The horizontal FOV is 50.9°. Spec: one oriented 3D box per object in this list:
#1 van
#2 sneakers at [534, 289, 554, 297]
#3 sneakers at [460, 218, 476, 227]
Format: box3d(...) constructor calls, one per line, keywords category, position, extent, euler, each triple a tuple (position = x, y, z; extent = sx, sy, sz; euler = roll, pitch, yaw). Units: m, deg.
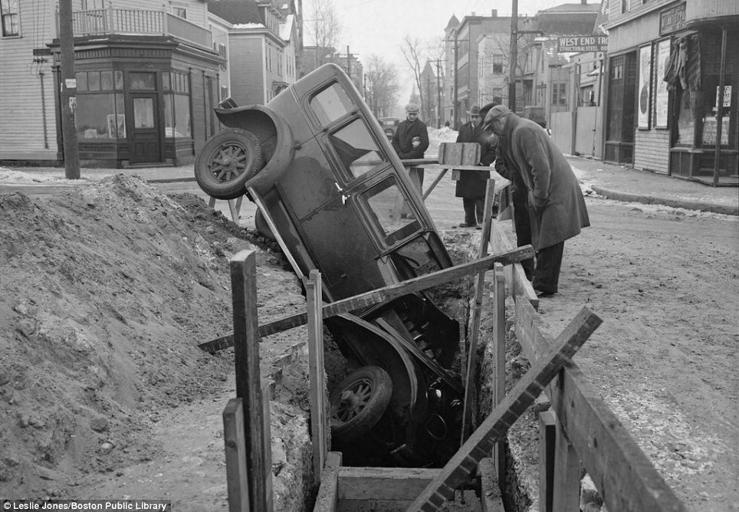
box3d(category="van", position=(-0.256, -0.087, 11.203), extent=(2.437, 5.147, 3.798), euler=(-13, 18, -36))
box3d(category="sneakers", position=(2.141, 0.463, 9.544), extent=(0.149, 0.068, 0.133), euler=(-2, 44, -3))
box3d(category="sneakers", position=(1.858, -0.635, 14.722), extent=(0.292, 0.154, 0.126), euler=(7, 23, -14))
